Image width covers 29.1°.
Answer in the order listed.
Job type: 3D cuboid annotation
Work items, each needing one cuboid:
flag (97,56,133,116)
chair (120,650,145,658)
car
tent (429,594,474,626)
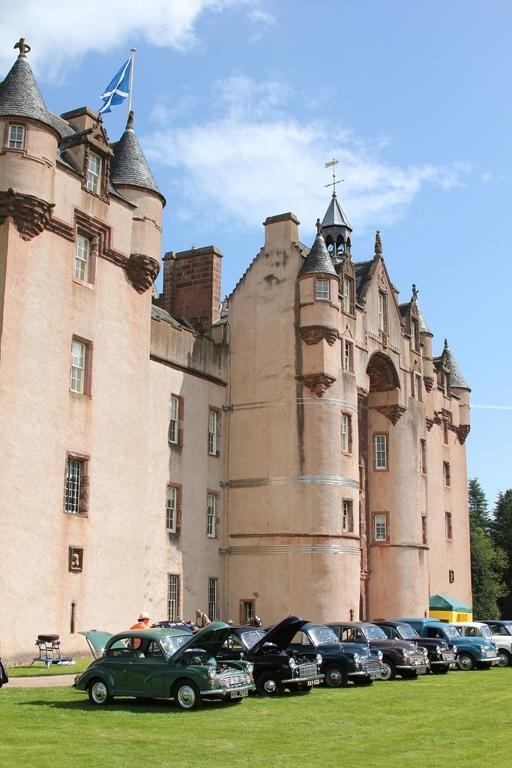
[{"bbox_3d":[-5.273,-11.198,37.065,0.985,2.690,1.707,3,-15,-9],"label":"flag"},{"bbox_3d":[-2.424,5.177,19.311,0.591,0.283,0.145,-11,-19,36],"label":"chair"},{"bbox_3d":[-0.838,5.869,21.308,2.526,1.841,5.689,-8,-17,27],"label":"car"},{"bbox_3d":[10.887,12.382,54.620,2.638,2.041,2.788,-11,-15,40],"label":"tent"}]
